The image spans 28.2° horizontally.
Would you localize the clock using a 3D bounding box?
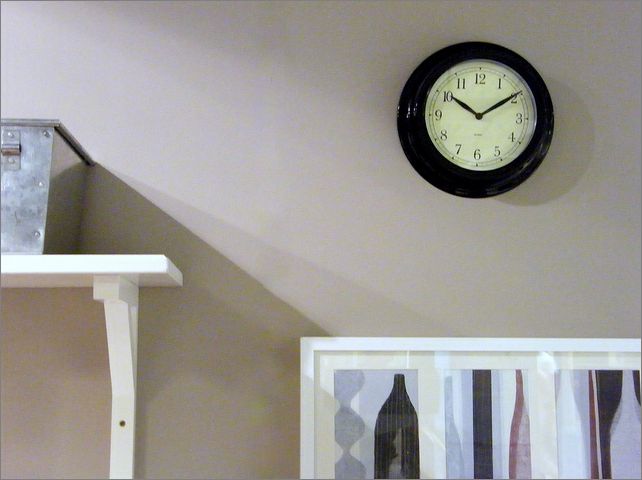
[{"bbox_3d":[0.380,-0.295,3.157,0.374,0.364,0.136,-3,18,5],"label":"clock"}]
